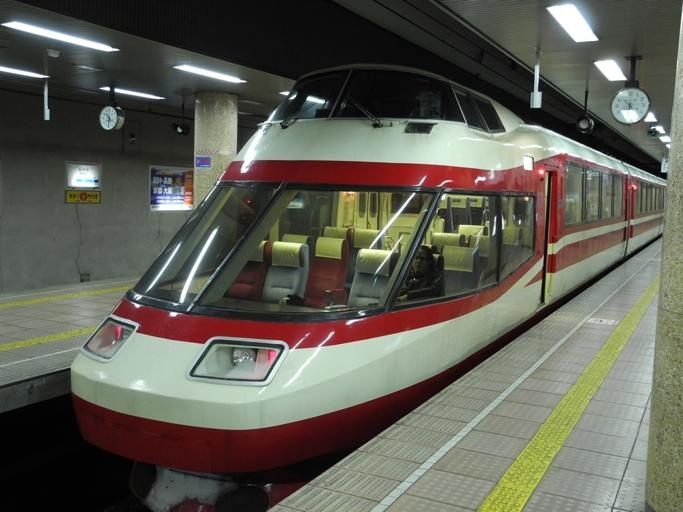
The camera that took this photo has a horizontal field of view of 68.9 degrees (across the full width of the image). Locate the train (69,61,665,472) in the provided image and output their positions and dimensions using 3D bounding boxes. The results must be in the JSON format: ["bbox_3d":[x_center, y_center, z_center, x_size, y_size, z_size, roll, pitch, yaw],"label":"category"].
[{"bbox_3d":[0.387,-0.232,5.067,5.503,3.332,1.623,-7,9,-41],"label":"train"}]
